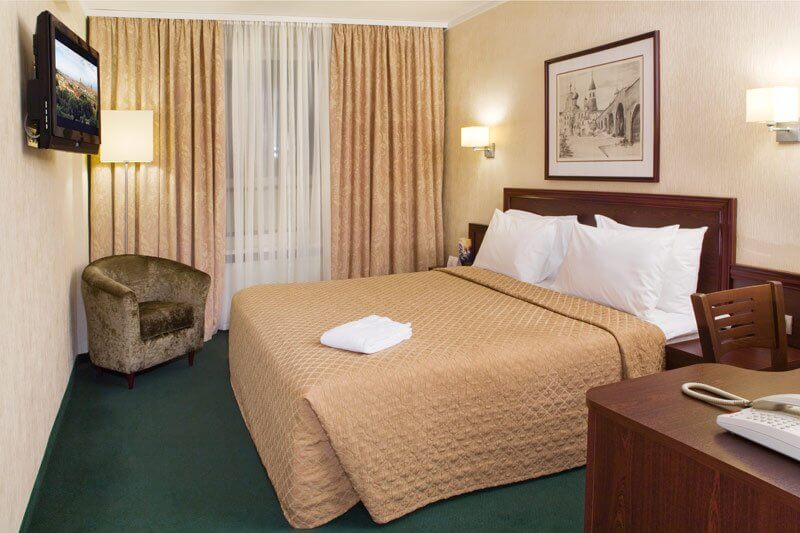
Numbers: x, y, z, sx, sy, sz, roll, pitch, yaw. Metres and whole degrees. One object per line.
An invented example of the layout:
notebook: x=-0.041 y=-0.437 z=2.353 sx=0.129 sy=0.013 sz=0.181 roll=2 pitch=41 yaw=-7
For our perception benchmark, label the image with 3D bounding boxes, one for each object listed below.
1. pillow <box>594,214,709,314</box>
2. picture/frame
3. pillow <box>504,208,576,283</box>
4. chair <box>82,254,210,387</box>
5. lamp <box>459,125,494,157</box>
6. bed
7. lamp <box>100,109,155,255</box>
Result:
pillow: x=1.800 y=0.010 z=4.047 sx=0.215 sy=0.494 sz=0.610 roll=6 pitch=5 yaw=-44
picture/frame: x=1.725 y=-1.346 z=4.746 sx=0.052 sy=1.379 sz=1.392 roll=-1 pitch=1 yaw=-35
pillow: x=1.212 y=-0.154 z=4.773 sx=0.149 sy=0.579 sz=0.543 roll=10 pitch=6 yaw=-45
chair: x=-2.304 y=0.369 z=5.258 sx=0.999 sy=1.200 sz=1.252 roll=7 pitch=7 yaw=28
lamp: x=0.825 y=-1.276 z=5.905 sx=0.317 sy=0.315 sz=0.181 roll=-5 pitch=9 yaw=-26
bed: x=0.336 y=0.650 z=3.940 sx=2.476 sy=1.549 sz=2.509 roll=-7 pitch=12 yaw=-24
lamp: x=-2.567 y=-0.794 z=5.426 sx=0.472 sy=1.352 sz=0.407 roll=-5 pitch=9 yaw=-28
